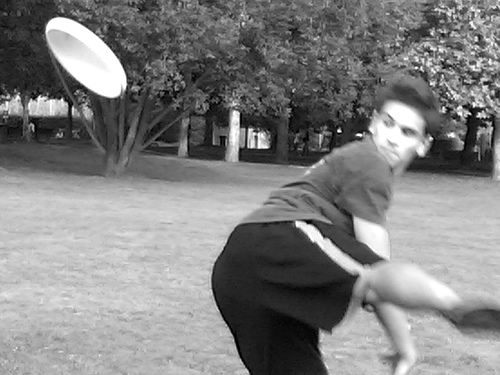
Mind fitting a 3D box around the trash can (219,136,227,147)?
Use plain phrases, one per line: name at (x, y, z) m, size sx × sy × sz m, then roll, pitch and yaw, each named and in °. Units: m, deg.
trash can at (-4.248, -7.450, 75.633) m, size 0.948 × 1.359 × 1.484 m, roll 2°, pitch 4°, yaw -8°
